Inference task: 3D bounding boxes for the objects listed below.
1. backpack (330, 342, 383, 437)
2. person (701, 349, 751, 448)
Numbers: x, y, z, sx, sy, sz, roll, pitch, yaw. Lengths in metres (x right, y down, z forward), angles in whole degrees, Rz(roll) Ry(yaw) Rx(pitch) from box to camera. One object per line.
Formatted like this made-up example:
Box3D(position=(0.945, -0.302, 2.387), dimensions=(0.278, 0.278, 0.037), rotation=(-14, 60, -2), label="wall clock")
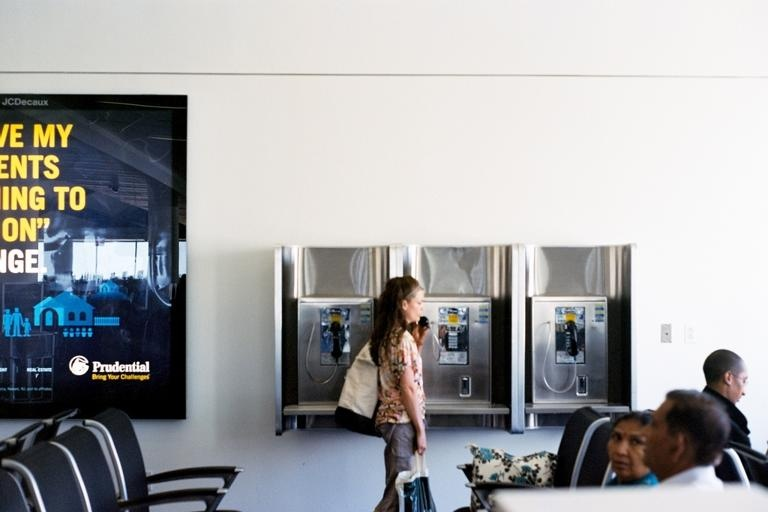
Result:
Box3D(position=(-0.208, 1.024, 5.375), dimensions=(0.325, 0.851, 0.637), rotation=(15, -10, -3), label="backpack")
Box3D(position=(2.476, 1.027, 5.090), dimensions=(0.359, 0.687, 0.791), rotation=(4, 3, 28), label="person")
